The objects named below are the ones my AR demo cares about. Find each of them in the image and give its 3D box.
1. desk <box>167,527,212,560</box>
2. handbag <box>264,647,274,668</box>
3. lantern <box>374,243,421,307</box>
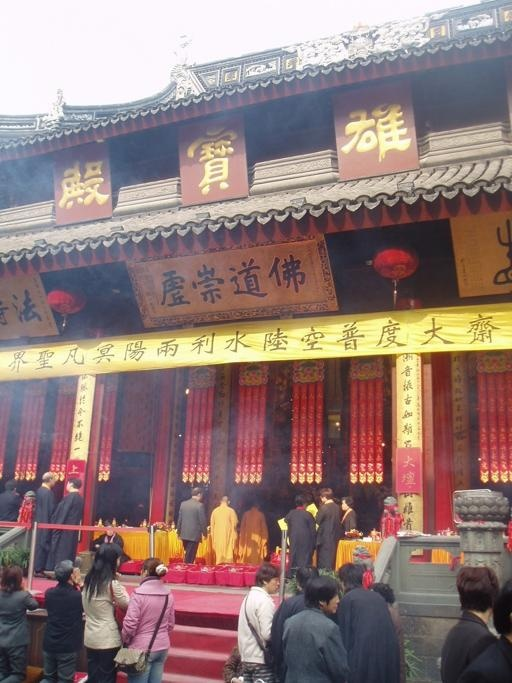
[{"bbox_3d":[-1.018,3.082,10.177,0.499,0.660,0.507,0,-12,4],"label":"desk"},{"bbox_3d":[0.091,2.062,4.333,0.030,0.115,0.081,-2,-26,-18],"label":"handbag"},{"bbox_3d":[1.691,-0.946,7.969,0.372,0.295,0.460,14,-20,-42],"label":"lantern"}]
